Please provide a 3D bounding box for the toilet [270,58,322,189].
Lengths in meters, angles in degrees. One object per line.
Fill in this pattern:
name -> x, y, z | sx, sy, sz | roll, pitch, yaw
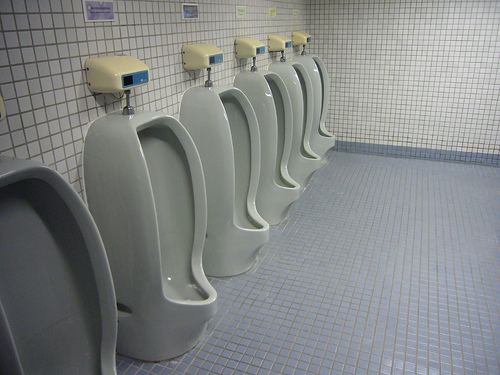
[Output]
toilet -> 0.525, -0.629, 3.530 | 0.557, 1.107, 0.617 | 14, 11, 3

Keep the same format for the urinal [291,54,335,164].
urinal -> 0.616, -0.829, 3.892 | 0.526, 1.106, 0.484 | 3, 14, 42

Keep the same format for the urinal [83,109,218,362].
urinal -> -0.440, 0.240, 1.911 | 0.580, 1.181, 0.555 | 5, 12, 20

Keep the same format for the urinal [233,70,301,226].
urinal -> 0.203, -0.270, 2.918 | 0.355, 1.187, 0.642 | 9, 23, 19
